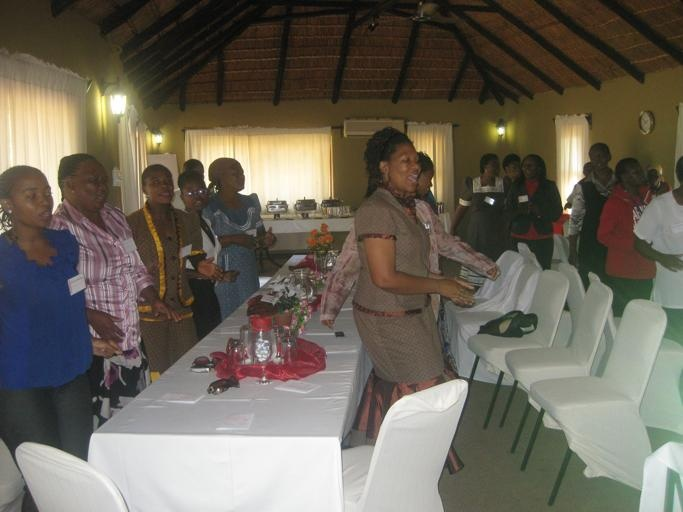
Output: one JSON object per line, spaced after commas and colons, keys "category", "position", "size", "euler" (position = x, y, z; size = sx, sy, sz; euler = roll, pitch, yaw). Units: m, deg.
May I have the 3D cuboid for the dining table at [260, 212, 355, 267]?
{"category": "dining table", "position": [-0.703, -0.493, 11.701], "size": [2.200, 0.732, 1.055], "euler": [1, 9, -4]}

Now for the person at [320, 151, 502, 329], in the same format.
{"category": "person", "position": [0.321, -0.201, 2.891], "size": [1.121, 0.825, 0.363], "euler": [-29, 25, -36]}

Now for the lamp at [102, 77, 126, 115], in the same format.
{"category": "lamp", "position": [-3.053, -2.126, 7.707], "size": [0.284, 0.661, 0.222], "euler": [-4, -9, -19]}

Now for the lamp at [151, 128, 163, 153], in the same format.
{"category": "lamp", "position": [-3.805, -2.399, 11.765], "size": [0.165, 0.448, 0.475], "euler": [-3, 11, -6]}

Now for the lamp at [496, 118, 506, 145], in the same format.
{"category": "lamp", "position": [3.514, -2.764, 12.504], "size": [0.205, 0.520, 0.196], "euler": [-4, 11, -12]}

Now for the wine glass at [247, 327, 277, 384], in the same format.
{"category": "wine glass", "position": [-0.382, 0.495, 2.802], "size": [0.138, 0.280, 0.140], "euler": [-5, -6, 44]}
